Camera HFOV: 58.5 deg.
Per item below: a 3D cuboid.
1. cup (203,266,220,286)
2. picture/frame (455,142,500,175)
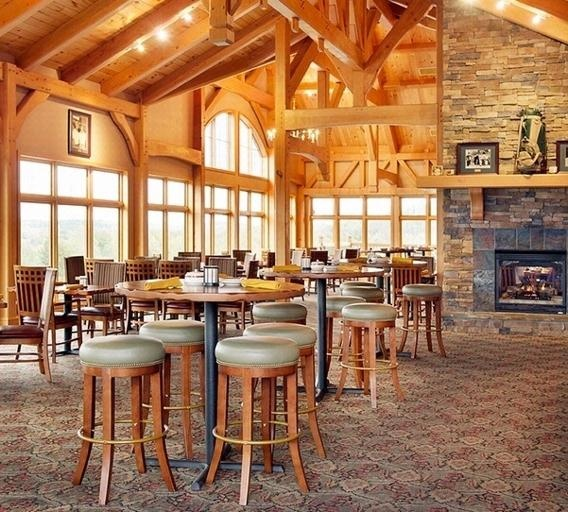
[{"bbox_3d":[-0.435,0.124,3.065,0.142,0.110,0.107,-1,0,1],"label":"cup"},{"bbox_3d":[3.042,-1.513,7.914,0.692,0.479,0.066,1,1,13],"label":"picture/frame"}]
